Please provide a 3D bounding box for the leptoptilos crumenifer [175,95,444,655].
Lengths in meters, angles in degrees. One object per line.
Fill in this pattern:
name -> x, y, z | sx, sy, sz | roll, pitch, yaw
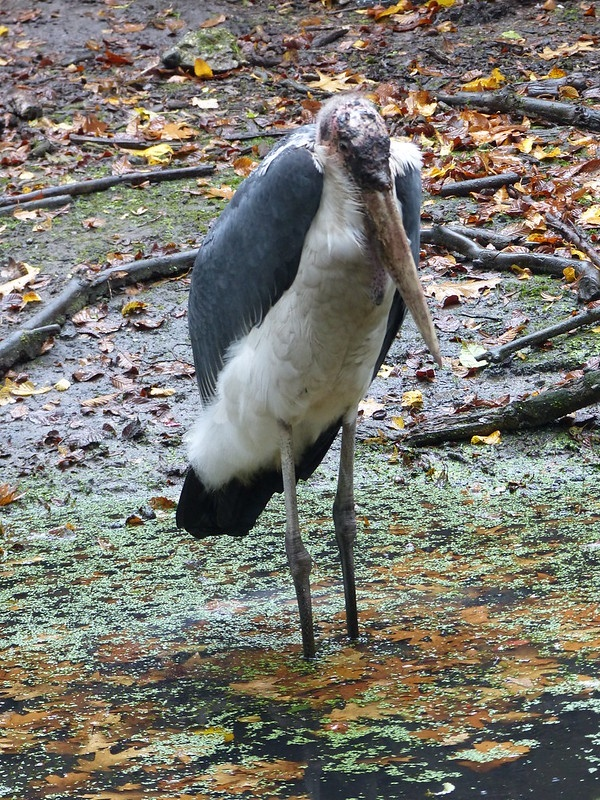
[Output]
leptoptilos crumenifer -> 0.066, -0.070, 3.377 | 0.515, 1.720, 1.260 | -13, 13, -31
